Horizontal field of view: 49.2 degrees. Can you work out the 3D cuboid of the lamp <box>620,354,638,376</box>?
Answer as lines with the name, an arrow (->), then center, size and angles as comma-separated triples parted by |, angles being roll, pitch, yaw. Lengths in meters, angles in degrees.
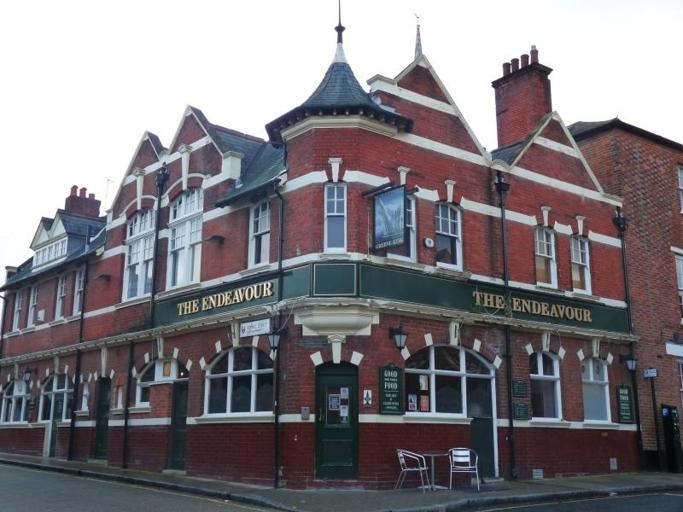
lamp -> 10.664, 3.960, 27.508 | 0.488, 0.754, 0.572 | -18, -26, 37

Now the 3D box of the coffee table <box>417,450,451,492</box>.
coffee table -> 2.790, 6.340, 22.243 | 1.044, 1.138, 1.065 | -4, -8, 41

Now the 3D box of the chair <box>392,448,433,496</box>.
chair -> 2.034, 6.242, 21.629 | 1.223, 1.507, 1.211 | -4, -10, 12

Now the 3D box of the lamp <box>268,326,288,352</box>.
lamp -> -1.895, 2.446, 22.279 | 0.409, 0.658, 0.641 | -14, -24, 30
